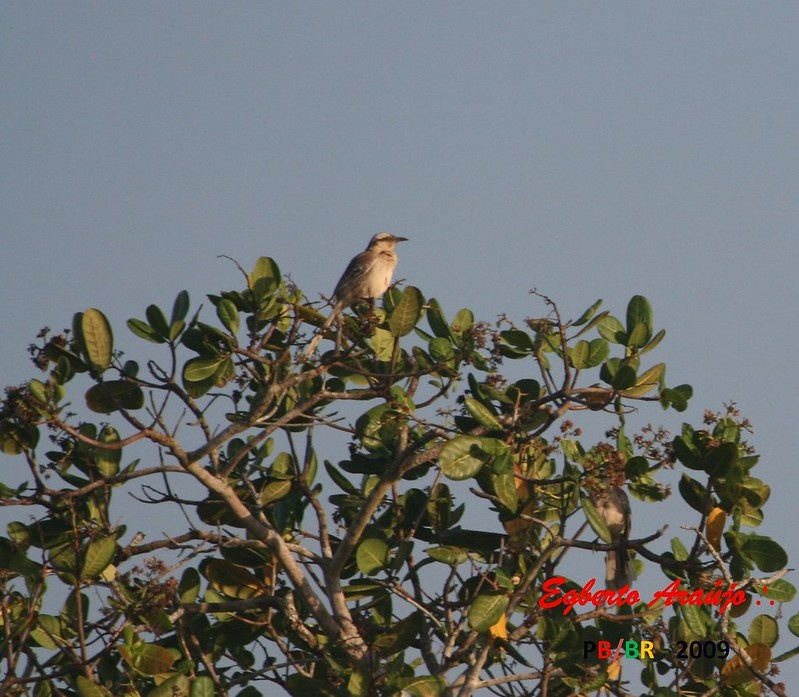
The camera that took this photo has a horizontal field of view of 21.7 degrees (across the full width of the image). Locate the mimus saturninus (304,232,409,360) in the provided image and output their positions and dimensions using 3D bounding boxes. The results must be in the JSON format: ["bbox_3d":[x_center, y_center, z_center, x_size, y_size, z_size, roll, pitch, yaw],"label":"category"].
[{"bbox_3d":[-0.224,-0.222,13.552,0.284,0.924,0.680,9,-4,-27],"label":"mimus saturninus"}]
